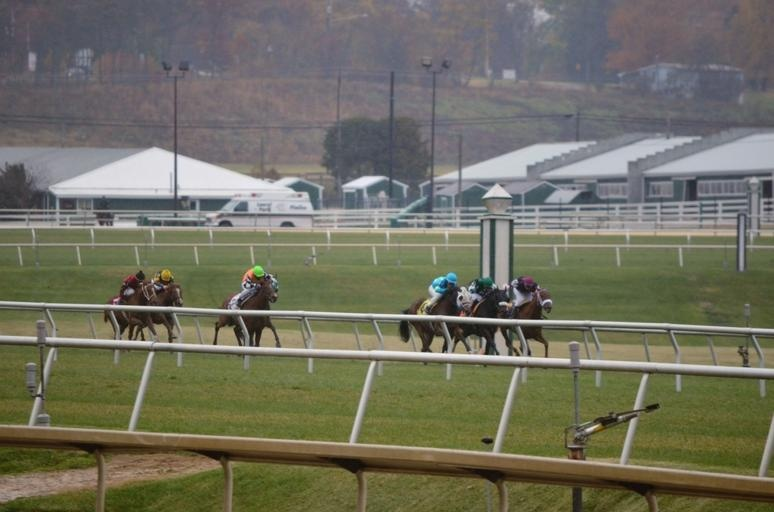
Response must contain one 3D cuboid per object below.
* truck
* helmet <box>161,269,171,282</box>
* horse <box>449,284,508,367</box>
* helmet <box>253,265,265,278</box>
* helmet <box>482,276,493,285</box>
[{"bbox_3d":[-8.326,-2.667,103.725,7.533,2.584,2.658,0,7,-34],"label":"truck"},{"bbox_3d":[-11.120,1.024,82.335,0.487,0.323,0.634,-6,40,-15],"label":"helmet"},{"bbox_3d":[4.409,3.217,79.357,2.150,3.450,2.744,0,-3,2],"label":"horse"},{"bbox_3d":[-6.415,0.844,81.425,0.508,0.300,0.653,-12,29,-23],"label":"helmet"},{"bbox_3d":[4.880,1.294,80.105,0.412,0.305,0.332,42,-4,47],"label":"helmet"}]
